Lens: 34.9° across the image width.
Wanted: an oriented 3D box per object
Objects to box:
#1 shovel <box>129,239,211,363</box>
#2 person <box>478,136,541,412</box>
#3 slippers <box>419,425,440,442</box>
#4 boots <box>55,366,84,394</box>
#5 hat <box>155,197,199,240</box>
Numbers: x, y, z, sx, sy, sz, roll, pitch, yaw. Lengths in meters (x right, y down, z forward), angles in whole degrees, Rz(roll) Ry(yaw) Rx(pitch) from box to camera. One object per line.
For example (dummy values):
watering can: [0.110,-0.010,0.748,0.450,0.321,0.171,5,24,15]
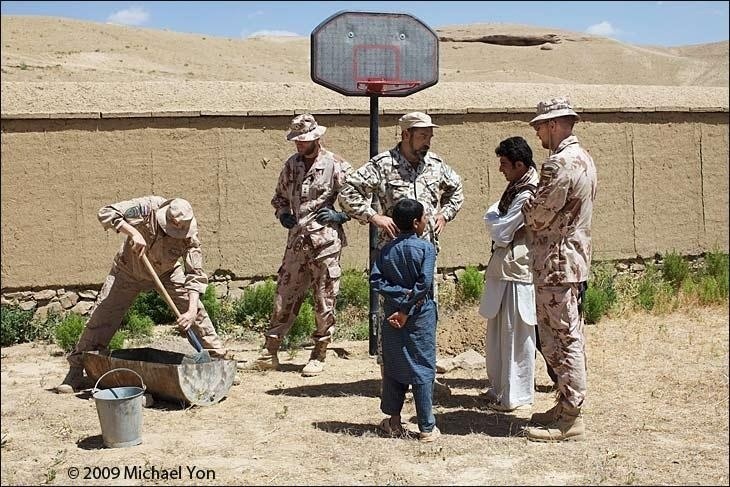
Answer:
shovel: [-2.826,1.012,17.090,0.288,1.878,0.456,-30,3,-34]
person: [2.138,0.429,17.211,1.025,3.874,1.154,2,6,-3]
slippers: [0.905,2.669,16.293,0.160,0.136,0.292,7,17,38]
boots: [-4.425,2.077,17.554,0.422,0.389,0.326,-1,3,-24]
hat: [-2.799,-0.364,17.144,0.576,0.600,0.246,-3,4,-8]
